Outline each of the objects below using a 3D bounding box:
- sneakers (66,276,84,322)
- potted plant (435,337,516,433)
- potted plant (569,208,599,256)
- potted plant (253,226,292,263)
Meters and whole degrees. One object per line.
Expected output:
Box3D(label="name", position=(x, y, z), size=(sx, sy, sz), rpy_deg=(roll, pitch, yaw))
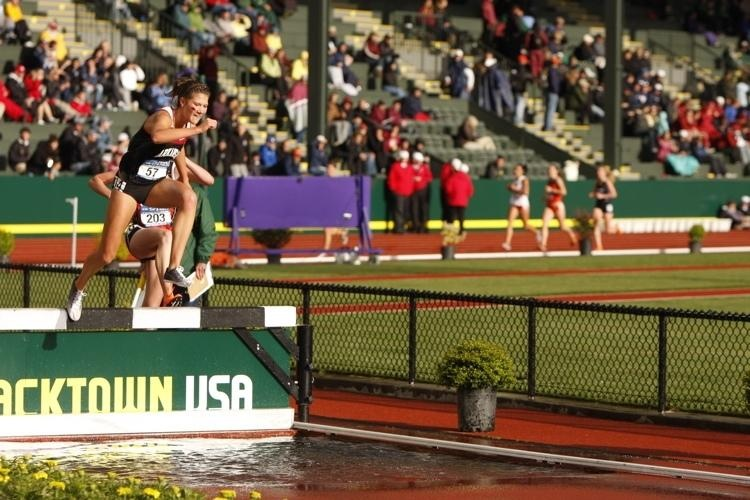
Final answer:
Box3D(label="sneakers", position=(-4.570, 0.715, 25.979), size=(0.193, 0.639, 0.249), rpy_deg=(5, -16, -31))
Box3D(label="potted plant", position=(1.638, 2.119, 27.336), size=(1.249, 1.376, 1.141), rpy_deg=(-1, 0, 5))
Box3D(label="potted plant", position=(5.836, -0.548, 47.328), size=(0.590, 1.196, 0.907), rpy_deg=(0, 1, 7))
Box3D(label="potted plant", position=(-2.662, -0.229, 43.841), size=(0.904, 0.946, 0.825), rpy_deg=(0, -3, -8))
